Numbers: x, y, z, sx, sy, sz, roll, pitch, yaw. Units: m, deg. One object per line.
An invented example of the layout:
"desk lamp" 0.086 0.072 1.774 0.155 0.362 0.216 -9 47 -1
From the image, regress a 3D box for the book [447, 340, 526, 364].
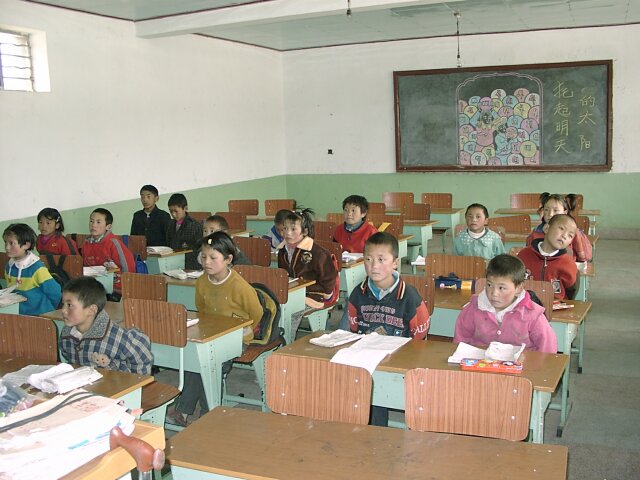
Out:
"book" 0.674 0.459 2.084 0.288 0.053 0.245 -1 8 20

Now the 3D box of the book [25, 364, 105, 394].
"book" -0.921 0.501 1.840 0.163 0.048 0.164 6 8 31

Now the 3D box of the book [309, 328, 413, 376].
"book" 0.173 0.458 2.204 0.213 0.045 0.224 4 13 37

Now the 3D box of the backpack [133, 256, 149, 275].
"backpack" -1.595 0.208 4.538 0.141 0.189 0.459 -3 5 -22

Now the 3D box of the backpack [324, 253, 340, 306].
"backpack" 0.118 0.302 3.967 0.115 0.306 0.224 0 4 5
